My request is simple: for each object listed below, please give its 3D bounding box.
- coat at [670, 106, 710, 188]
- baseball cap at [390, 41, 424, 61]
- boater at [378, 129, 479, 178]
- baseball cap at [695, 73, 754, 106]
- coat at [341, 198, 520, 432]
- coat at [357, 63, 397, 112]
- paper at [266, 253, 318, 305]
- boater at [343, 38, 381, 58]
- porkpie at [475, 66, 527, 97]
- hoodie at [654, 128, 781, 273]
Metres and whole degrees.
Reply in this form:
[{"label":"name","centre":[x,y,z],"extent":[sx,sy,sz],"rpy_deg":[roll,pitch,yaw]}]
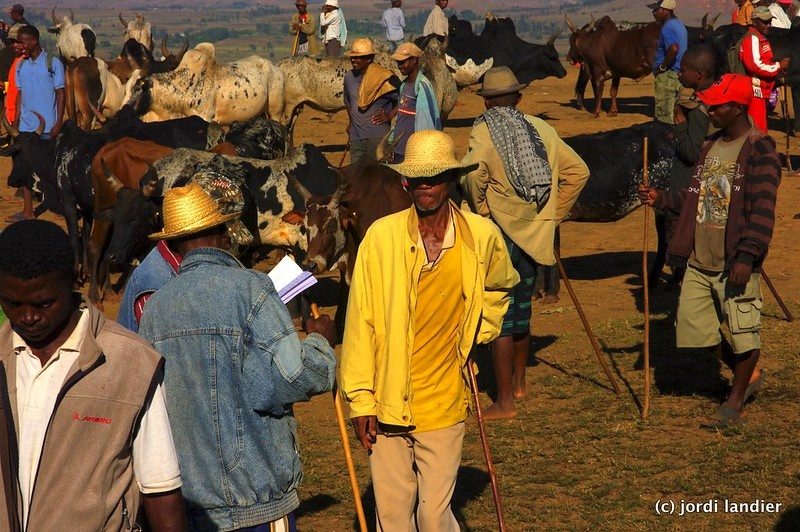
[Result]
[{"label":"coat","centre":[2.853,-1.161,9.965],"extent":[0.274,0.364,0.992],"rpy_deg":[13,-16,7]},{"label":"baseball cap","centre":[0.106,-2.677,12.619],"extent":[0.430,0.187,0.293],"rpy_deg":[-12,17,-36]},{"label":"boater","centre":[0.234,-0.827,7.309],"extent":[0.734,0.307,0.692],"rpy_deg":[-1,8,3]},{"label":"baseball cap","centre":[2.878,-1.577,8.937],"extent":[0.550,0.242,0.398],"rpy_deg":[7,26,12]},{"label":"coat","centre":[0.161,0.368,7.118],"extent":[1.275,1.507,0.576],"rpy_deg":[-7,13,-10]},{"label":"coat","centre":[-0.349,-2.442,13.573],"extent":[0.413,0.583,0.652],"rpy_deg":[-22,38,-33]},{"label":"paper","centre":[-0.744,0.113,6.797],"extent":[0.332,0.323,0.108],"rpy_deg":[-40,-10,-11]},{"label":"boater","centre":[-0.529,-2.965,13.733],"extent":[0.340,0.260,0.758],"rpy_deg":[-5,12,-3]},{"label":"porkpie","centre":[0.906,-1.681,9.234],"extent":[0.380,0.269,0.338],"rpy_deg":[-4,12,5]},{"label":"hoodie","centre":[2.815,-0.565,8.920],"extent":[0.945,1.227,0.706],"rpy_deg":[1,14,27]}]
